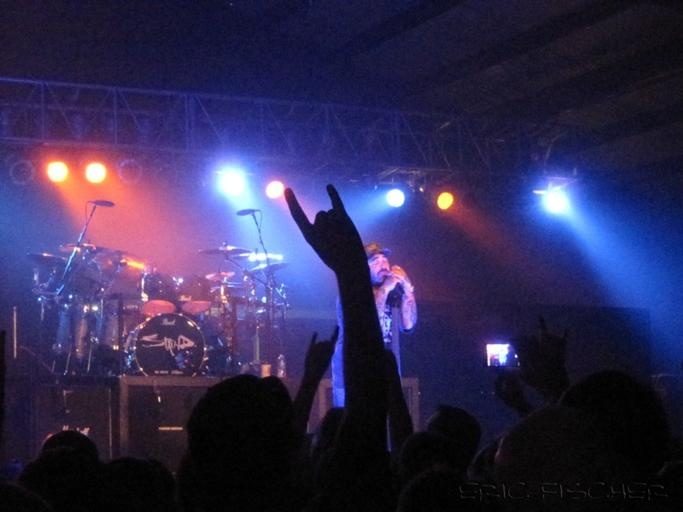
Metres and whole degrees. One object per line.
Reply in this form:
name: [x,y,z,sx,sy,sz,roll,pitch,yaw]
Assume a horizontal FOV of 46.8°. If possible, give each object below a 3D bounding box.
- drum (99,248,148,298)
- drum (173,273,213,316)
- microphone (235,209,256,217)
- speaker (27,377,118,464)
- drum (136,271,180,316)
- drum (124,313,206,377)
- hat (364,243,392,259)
drum: [-3.253,0.267,11.708,0.546,0.609,0.693,-12,-18,40]
drum: [-2.119,0.564,11.475,0.520,0.406,0.535,-3,-20,-1]
microphone: [-1.398,-0.645,11.460,0.295,0.087,0.233,-3,-1,27]
speaker: [-2.932,1.787,8.735,1.049,1.029,0.375,-4,-19,6]
drum: [-2.692,0.536,11.458,0.576,0.661,0.567,7,-16,-40]
drum: [-2.397,1.210,10.618,0.672,0.685,0.360,-12,-5,-23]
hat: [0.376,-0.071,8.258,0.209,0.087,0.158,9,-18,-1]
